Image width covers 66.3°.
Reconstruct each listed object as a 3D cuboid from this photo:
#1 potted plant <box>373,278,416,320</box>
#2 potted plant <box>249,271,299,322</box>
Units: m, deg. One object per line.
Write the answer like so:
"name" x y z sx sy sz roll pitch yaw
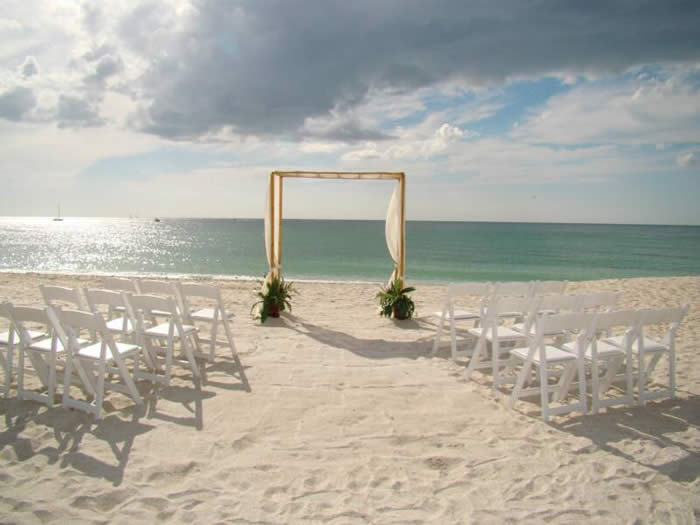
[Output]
"potted plant" 0.992 0.751 11.222 0.610 0.719 0.833 7 27 23
"potted plant" -1.712 0.767 11.496 1.033 0.702 1.019 5 -6 -35
